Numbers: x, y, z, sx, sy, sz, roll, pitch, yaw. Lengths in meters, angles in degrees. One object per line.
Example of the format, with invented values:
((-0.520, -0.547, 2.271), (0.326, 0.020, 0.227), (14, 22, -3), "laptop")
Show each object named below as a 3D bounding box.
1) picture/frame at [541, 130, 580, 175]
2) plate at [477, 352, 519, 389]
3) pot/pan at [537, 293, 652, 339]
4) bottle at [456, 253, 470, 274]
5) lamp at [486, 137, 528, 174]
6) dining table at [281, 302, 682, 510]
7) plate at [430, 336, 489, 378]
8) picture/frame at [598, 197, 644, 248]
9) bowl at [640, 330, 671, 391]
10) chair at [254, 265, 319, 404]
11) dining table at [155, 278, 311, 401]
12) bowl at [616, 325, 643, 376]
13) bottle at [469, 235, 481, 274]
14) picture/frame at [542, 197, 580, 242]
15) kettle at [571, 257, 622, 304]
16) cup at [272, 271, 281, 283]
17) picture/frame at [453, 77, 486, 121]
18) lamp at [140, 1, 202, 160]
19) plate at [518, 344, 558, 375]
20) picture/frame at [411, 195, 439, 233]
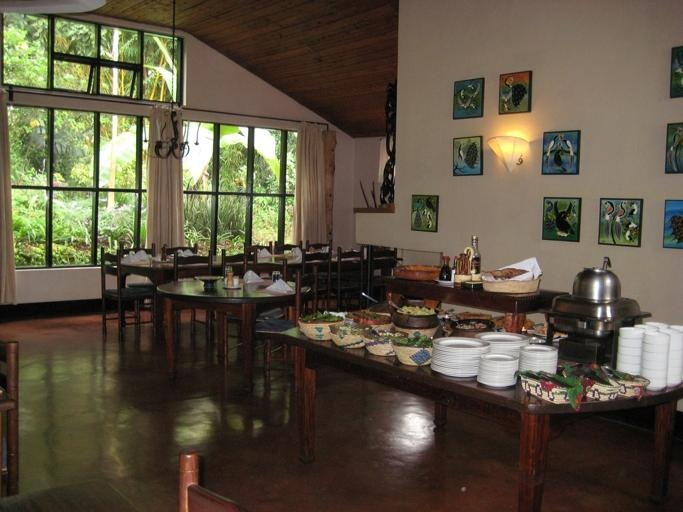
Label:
((1.908, -0.902, 4.656), (0.060, 0.458, 0.391), (-1, 5, -38), "picture/frame")
((0.683, 0.508, 2.344), (0.141, 0.101, 0.141), (2, 2, 7), "plate")
((1.356, 0.270, 2.826), (0.317, 0.130, 0.273), (-5, 7, -36), "pot/pan")
((0.904, 0.055, 4.024), (0.103, 0.149, 0.164), (2, 6, 12), "bottle")
((1.575, -0.921, 5.018), (0.414, 0.289, 0.427), (3, -1, 5), "lamp")
((0.475, 0.946, 2.803), (0.580, 0.860, 1.778), (-4, 8, -44), "dining table")
((0.552, 0.463, 2.494), (0.195, 0.080, 0.175), (-1, 4, -17), "plate")
((2.252, -0.271, 4.309), (0.034, 0.494, 0.411), (4, -1, -37), "picture/frame")
((1.426, 0.483, 2.451), (0.109, 0.250, 0.122), (5, 7, 31), "bowl")
((-0.574, 0.685, 4.892), (0.680, 1.072, 0.733), (-1, 2, 23), "chair")
((-0.986, 0.531, 4.856), (1.123, 0.681, 1.086), (6, 10, 30), "dining table")
((1.368, 0.444, 2.556), (0.103, 0.199, 0.162), (4, 6, 27), "bowl")
((1.017, -0.014, 4.080), (0.072, 0.281, 0.244), (3, 6, 16), "bottle")
((1.915, -0.322, 4.662), (0.060, 0.452, 0.392), (0, 2, -38), "picture/frame")
((1.370, 0.117, 2.916), (0.242, 0.240, 0.251), (-2, 3, 6), "kettle")
((-0.613, 0.195, 5.019), (0.084, 0.150, 0.086), (2, 15, 0), "cup")
((1.256, -1.548, 5.243), (0.067, 0.491, 0.461), (-3, 5, -38), "picture/frame")
((-2.468, -2.524, 7.907), (0.707, 2.161, 1.931), (0, 6, -15), "lamp")
((0.883, 0.466, 2.418), (0.136, 0.086, 0.140), (7, 8, 44), "plate")
((0.883, -0.443, 5.637), (0.045, 0.435, 0.374), (-3, 6, -37), "picture/frame")
